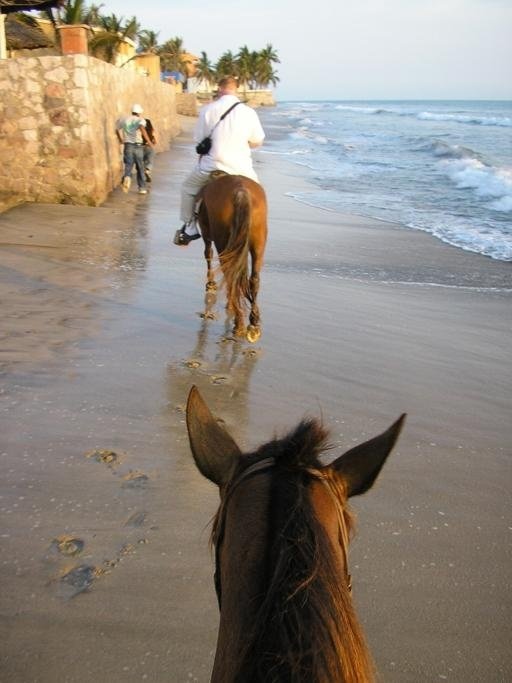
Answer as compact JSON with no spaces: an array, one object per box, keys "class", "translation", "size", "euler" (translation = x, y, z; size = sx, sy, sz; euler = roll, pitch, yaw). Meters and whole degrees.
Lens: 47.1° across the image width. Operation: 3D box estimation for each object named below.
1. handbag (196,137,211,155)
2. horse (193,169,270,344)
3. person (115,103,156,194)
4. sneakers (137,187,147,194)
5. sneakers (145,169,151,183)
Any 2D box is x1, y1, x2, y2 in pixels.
[{"class":"handbag","translation":[-0.565,-2.092,6.287],"size":[0.160,0.168,0.125],"euler":[32,29,34]},{"class":"horse","translation":[-0.309,-1.094,6.454],"size":[0.615,1.672,2.511],"euler":[-2,16,-11]},{"class":"person","translation":[-2.589,-4.115,12.514],"size":[0.814,1.759,0.671],"euler":[4,11,4]},{"class":"sneakers","translation":[-2.419,-3.209,12.460],"size":[0.183,0.129,0.338],"euler":[-2,21,-11]},{"class":"sneakers","translation":[-2.483,-3.791,13.416],"size":[0.115,0.321,0.138],"euler":[-4,22,-10]}]
